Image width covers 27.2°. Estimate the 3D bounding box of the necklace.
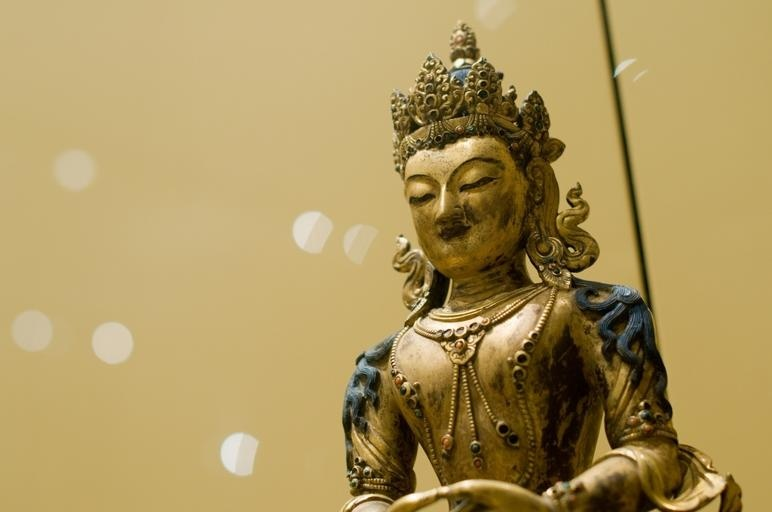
[{"bbox_3d":[0.298,0.422,5.095,0.422,0.439,0.294,-29,-32,8],"label":"necklace"}]
